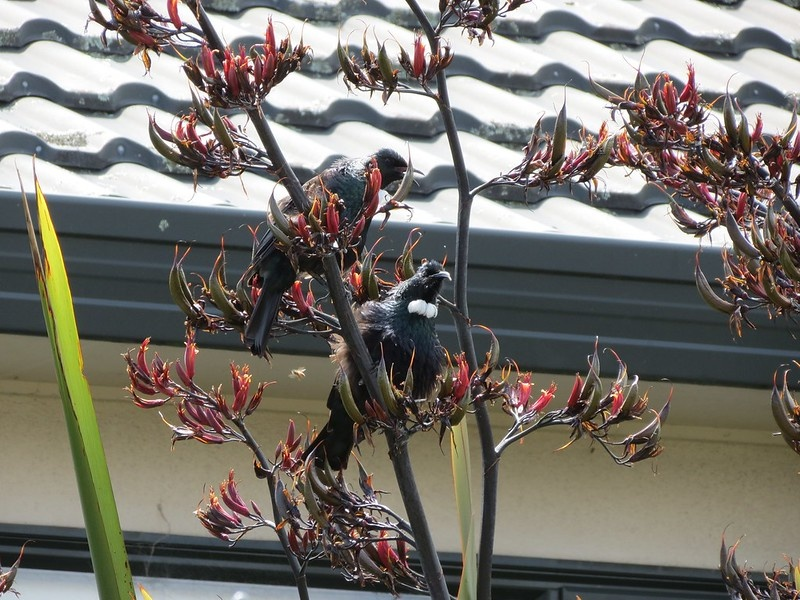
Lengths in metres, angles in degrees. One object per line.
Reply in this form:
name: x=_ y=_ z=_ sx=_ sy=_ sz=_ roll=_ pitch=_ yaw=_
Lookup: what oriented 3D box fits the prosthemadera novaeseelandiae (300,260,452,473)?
prosthemadera novaeseelandiae: x=-0.034 y=0.225 z=9.595 sx=0.451 sy=0.776 sz=0.563 roll=-5 pitch=8 yaw=-26
